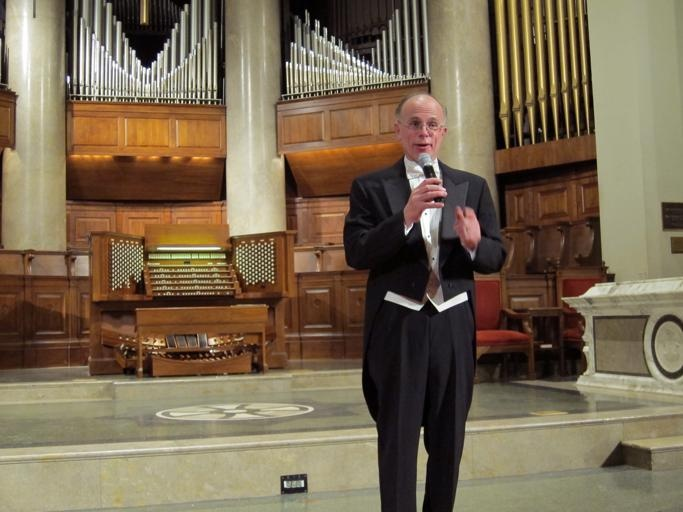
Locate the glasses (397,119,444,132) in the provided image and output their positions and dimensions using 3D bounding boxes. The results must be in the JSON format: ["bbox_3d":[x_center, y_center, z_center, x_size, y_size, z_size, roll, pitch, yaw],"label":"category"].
[{"bbox_3d":[0.400,-0.624,3.400,0.169,0.063,0.035,-3,0,-5],"label":"glasses"}]

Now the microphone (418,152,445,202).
[{"bbox_3d":[0.423,-0.369,3.372,0.119,0.233,0.266,-2,0,9],"label":"microphone"}]

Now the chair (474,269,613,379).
[{"bbox_3d":[2.054,0.740,7.371,1.178,0.836,0.430,1,-6,-18],"label":"chair"}]
